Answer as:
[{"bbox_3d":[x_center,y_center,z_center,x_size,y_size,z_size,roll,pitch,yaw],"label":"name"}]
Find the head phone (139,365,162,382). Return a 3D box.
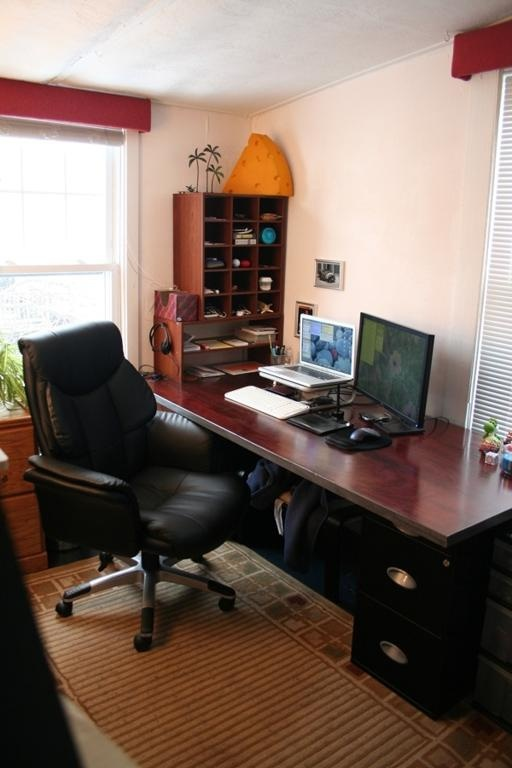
[{"bbox_3d":[-0.599,-0.058,3.260,0.129,0.063,0.100,33,28,31],"label":"head phone"}]

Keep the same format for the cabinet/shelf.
[{"bbox_3d":[-0.213,-0.572,3.325,0.846,1.338,0.394,-10,19,-34],"label":"cabinet/shelf"}]

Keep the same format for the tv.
[{"bbox_3d":[0.527,-0.033,2.482,0.148,0.441,0.517,7,-6,45],"label":"tv"}]

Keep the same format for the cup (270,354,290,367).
[{"bbox_3d":[0.152,-0.141,3.418,0.078,0.055,0.078,0,14,0],"label":"cup"}]

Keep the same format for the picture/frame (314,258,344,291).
[{"bbox_3d":[0.391,-0.585,3.118,0.048,0.155,0.236,-4,14,-21],"label":"picture/frame"}]

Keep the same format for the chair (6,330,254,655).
[{"bbox_3d":[-0.485,0.365,2.387,0.824,1.134,0.824,13,19,39],"label":"chair"}]

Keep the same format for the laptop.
[{"bbox_3d":[0.240,-0.163,2.823,0.291,0.299,0.429,-6,15,-33],"label":"laptop"}]

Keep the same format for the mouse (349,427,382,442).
[{"bbox_3d":[0.411,0.184,2.224,0.090,0.030,0.054,-6,21,-23],"label":"mouse"}]
